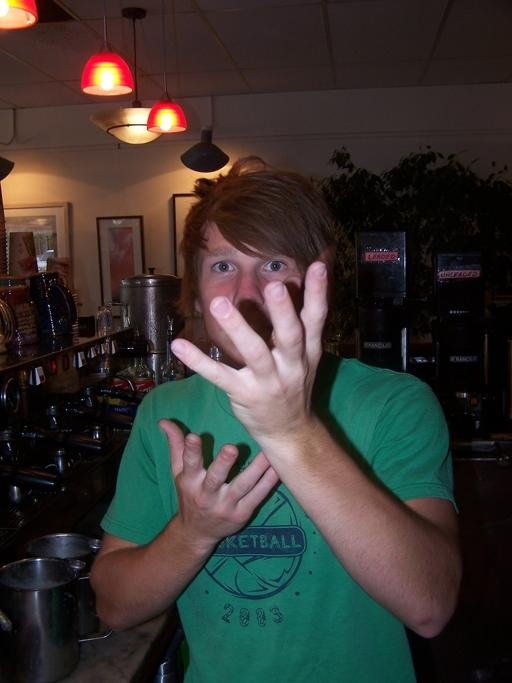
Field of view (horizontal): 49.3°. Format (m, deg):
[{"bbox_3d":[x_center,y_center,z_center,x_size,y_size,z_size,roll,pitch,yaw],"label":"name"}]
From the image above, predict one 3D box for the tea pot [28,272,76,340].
[{"bbox_3d":[-0.704,-0.119,1.896,0.092,0.226,0.209,-2,3,20],"label":"tea pot"}]
